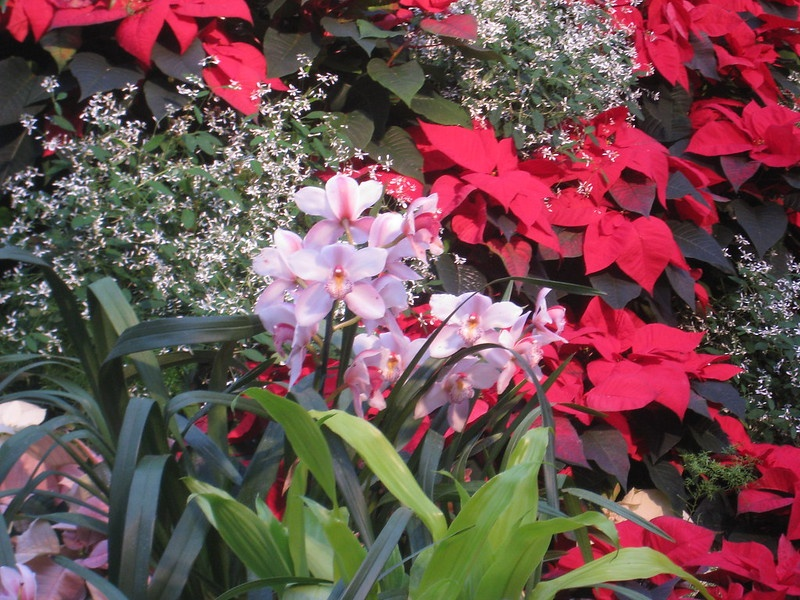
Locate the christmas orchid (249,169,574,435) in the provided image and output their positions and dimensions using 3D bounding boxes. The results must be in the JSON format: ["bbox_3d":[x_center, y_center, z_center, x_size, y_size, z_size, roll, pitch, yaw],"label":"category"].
[{"bbox_3d":[0.013,0.016,1.443,0.688,0.437,0.296,2,-32,-11],"label":"christmas orchid"}]
